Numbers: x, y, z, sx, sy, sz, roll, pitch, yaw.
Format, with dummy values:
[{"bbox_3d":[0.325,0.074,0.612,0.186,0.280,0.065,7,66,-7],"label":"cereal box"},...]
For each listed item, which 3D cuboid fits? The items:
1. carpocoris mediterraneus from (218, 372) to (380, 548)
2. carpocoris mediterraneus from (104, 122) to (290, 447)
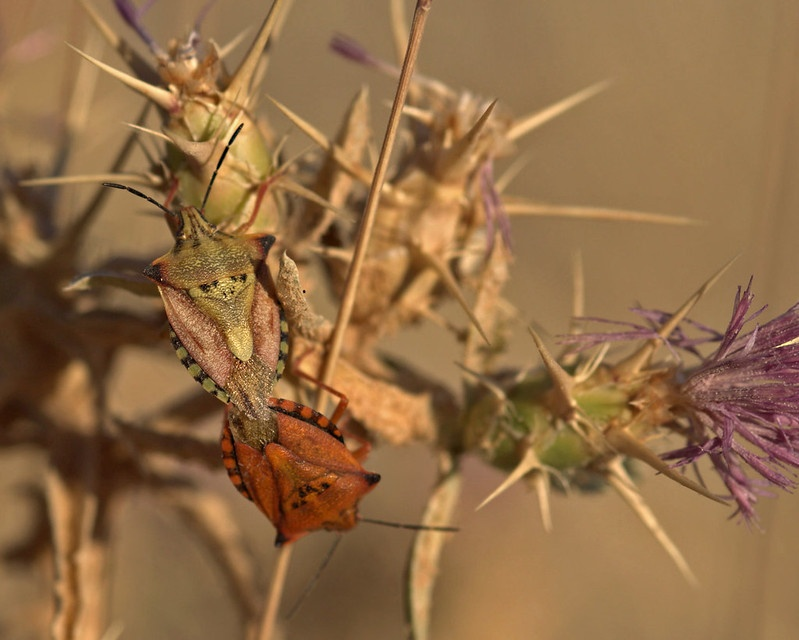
[{"bbox_3d":[-0.202,0.269,2.147,0.285,0.076,0.257,41,-84,-17],"label":"carpocoris mediterraneus"},{"bbox_3d":[-0.305,0.005,2.075,0.314,0.344,0.173,29,-42,-32],"label":"carpocoris mediterraneus"}]
